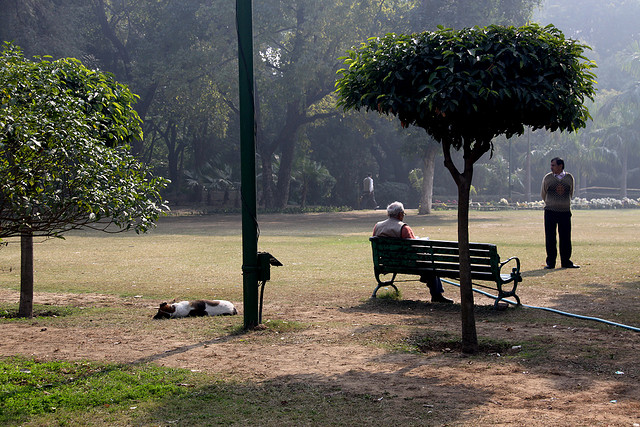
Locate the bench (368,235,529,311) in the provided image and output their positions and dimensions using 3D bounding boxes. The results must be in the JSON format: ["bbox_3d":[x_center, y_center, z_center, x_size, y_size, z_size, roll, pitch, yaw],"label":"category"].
[{"bbox_3d":[2.509,1.086,17.037,2.710,1.368,2.000,0,0,35],"label":"bench"}]

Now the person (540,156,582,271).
[{"bbox_3d":[5.407,0.006,20.116,0.779,2.518,0.710,0,1,13],"label":"person"}]

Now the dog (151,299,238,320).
[{"bbox_3d":[-2.315,1.677,16.258,1.491,0.378,0.469,-4,-3,-11],"label":"dog"}]

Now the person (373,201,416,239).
[{"bbox_3d":[1.443,0.133,17.190,1.020,0.740,0.560,6,0,45],"label":"person"}]
